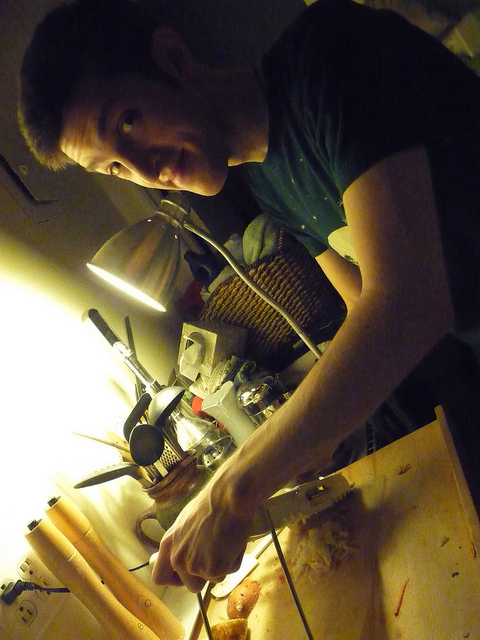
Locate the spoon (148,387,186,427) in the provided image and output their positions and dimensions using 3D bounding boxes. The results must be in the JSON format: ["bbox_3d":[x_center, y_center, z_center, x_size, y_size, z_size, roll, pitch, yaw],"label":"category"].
[{"bbox_3d":[-0.134,0.155,0.816,0.020,0.070,0.061,29,20,-2],"label":"spoon"}]

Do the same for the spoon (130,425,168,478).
[{"bbox_3d":[-0.144,0.224,0.741,0.079,0.059,0.016,22,7,-21],"label":"spoon"}]
